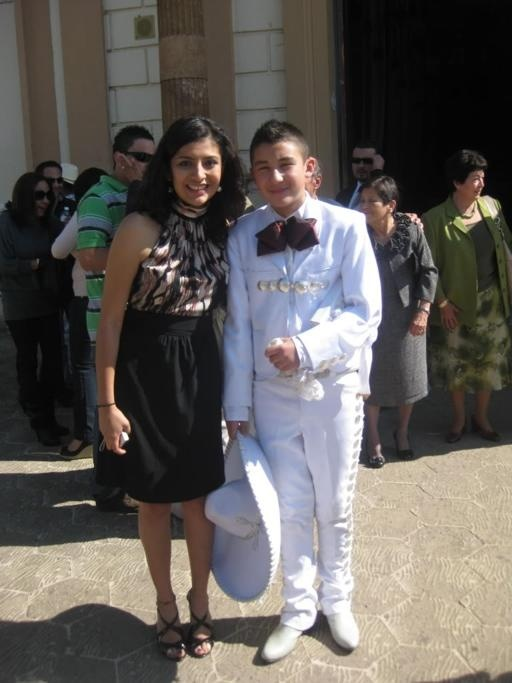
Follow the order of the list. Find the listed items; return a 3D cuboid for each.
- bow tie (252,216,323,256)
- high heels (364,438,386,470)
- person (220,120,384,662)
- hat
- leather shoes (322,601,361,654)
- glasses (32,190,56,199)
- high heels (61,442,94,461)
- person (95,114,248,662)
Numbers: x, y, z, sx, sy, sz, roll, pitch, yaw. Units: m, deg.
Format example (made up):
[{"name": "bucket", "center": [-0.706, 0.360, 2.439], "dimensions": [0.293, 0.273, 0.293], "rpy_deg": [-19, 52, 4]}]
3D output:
[{"name": "bow tie", "center": [0.101, -0.342, 2.204], "dimensions": [0.200, 0.122, 0.068], "rpy_deg": [-2, 13, -1]}, {"name": "high heels", "center": [0.718, 0.666, 3.994], "dimensions": [0.072, 0.081, 0.199], "rpy_deg": [-1, 53, 4]}, {"name": "person", "center": [0.142, 0.221, 2.285], "dimensions": [0.604, 1.798, 0.586], "rpy_deg": [3, 9, 33]}, {"name": "hat", "center": [-0.031, 0.632, 2.286], "dimensions": [0.236, 0.531, 0.461], "rpy_deg": [-9, 57, -4]}, {"name": "leather shoes", "center": [0.308, 0.989, 2.385], "dimensions": [0.083, 0.082, 0.217], "rpy_deg": [0, 19, -18]}, {"name": "glasses", "center": [-1.428, -0.981, 4.525], "dimensions": [0.123, 0.038, 0.126], "rpy_deg": [7, 9, 38]}, {"name": "high heels", "center": [-1.080, 0.674, 4.171], "dimensions": [0.203, 0.121, 0.102], "rpy_deg": [3, 7, 1]}, {"name": "person", "center": [-0.262, 0.127, 2.395], "dimensions": [0.635, 1.641, 0.616], "rpy_deg": [-3, 8, -15]}]
